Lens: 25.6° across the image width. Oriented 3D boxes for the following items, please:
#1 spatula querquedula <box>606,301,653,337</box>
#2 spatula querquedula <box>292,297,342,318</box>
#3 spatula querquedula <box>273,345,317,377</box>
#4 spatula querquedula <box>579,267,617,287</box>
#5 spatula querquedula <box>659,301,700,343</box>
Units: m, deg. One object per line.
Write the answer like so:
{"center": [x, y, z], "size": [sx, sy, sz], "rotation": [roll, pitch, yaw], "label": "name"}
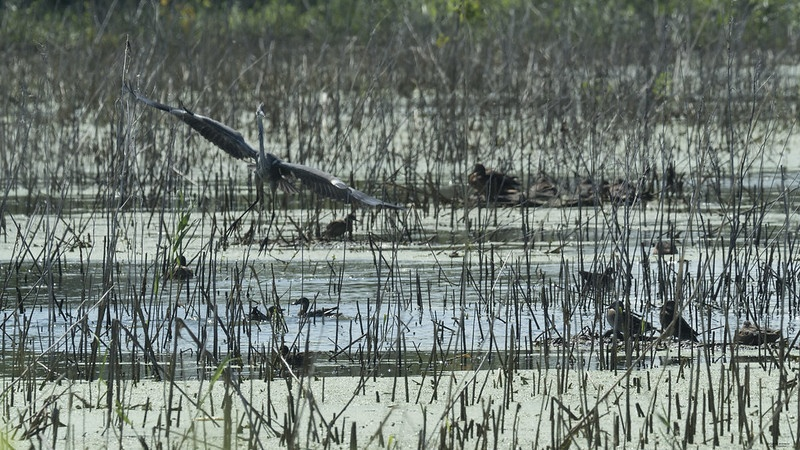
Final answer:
{"center": [2.312, 0.971, 17.931], "size": [0.481, 0.284, 0.358], "rotation": [-1, 92, 3], "label": "spatula querquedula"}
{"center": [-0.907, 0.882, 18.623], "size": [0.557, 0.182, 0.268], "rotation": [4, 80, -1], "label": "spatula querquedula"}
{"center": [-1.080, 1.351, 17.629], "size": [0.362, 0.359, 0.496], "rotation": [-7, 80, 46], "label": "spatula querquedula"}
{"center": [2.093, 0.559, 18.653], "size": [0.430, 0.168, 0.314], "rotation": [3, 96, 12], "label": "spatula querquedula"}
{"center": [2.831, 0.994, 17.932], "size": [0.451, 0.166, 0.294], "rotation": [28, 55, -20], "label": "spatula querquedula"}
